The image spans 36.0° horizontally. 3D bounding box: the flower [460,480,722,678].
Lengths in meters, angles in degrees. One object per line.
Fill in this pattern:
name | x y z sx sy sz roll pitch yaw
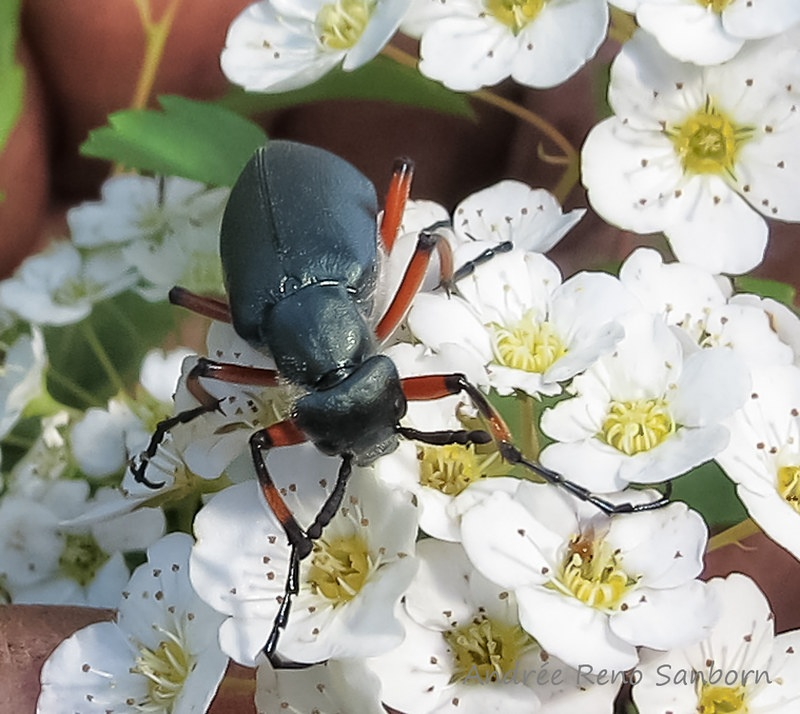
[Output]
flower | 0.343 0.420 2.356 0.486 0.149 0.338 8 76 -1
